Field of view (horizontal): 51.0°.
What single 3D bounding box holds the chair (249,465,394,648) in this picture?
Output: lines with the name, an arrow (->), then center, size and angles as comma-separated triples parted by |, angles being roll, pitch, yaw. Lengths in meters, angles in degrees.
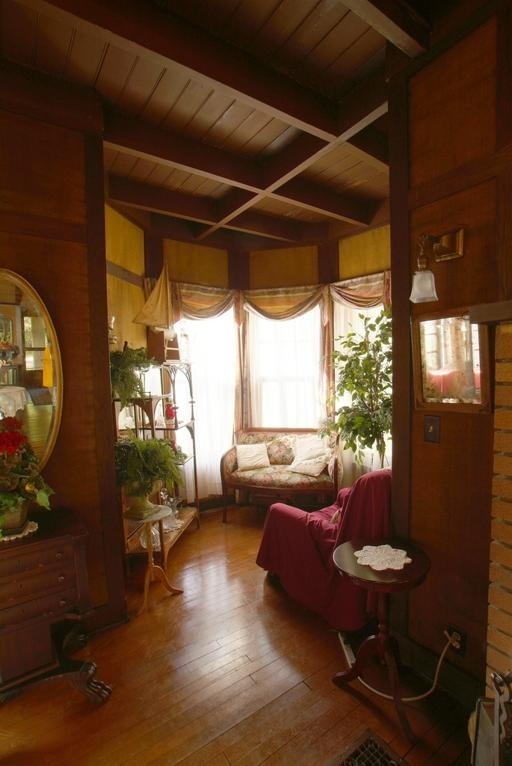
chair -> 0.480, 0.797, 3.275 | 0.810, 0.869, 0.912 | 6, 11, 5

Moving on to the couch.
couch -> 0.242, 1.064, 4.835 | 1.178, 1.045, 0.701 | -1, -8, 15

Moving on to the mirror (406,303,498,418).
mirror -> 0.834, -0.095, 2.249 | 0.028, 0.584, 0.462 | -4, 4, -26

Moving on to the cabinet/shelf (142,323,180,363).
cabinet/shelf -> -0.767, -0.316, 4.238 | 0.127, 0.352, 0.347 | -3, 0, 15

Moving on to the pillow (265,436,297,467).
pillow -> 0.233, 0.644, 5.060 | 0.214, 0.242, 0.070 | -1, -21, 2

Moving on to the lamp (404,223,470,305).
lamp -> 0.719, -0.491, 2.311 | 0.209, 0.308, 0.266 | -5, 9, -21

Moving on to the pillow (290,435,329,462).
pillow -> 0.487, 0.590, 4.861 | 0.228, 0.081, 0.262 | -23, 21, 9

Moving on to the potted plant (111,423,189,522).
potted plant -> -0.704, 0.582, 3.285 | 0.388, 0.472, 0.429 | 1, -6, -10
